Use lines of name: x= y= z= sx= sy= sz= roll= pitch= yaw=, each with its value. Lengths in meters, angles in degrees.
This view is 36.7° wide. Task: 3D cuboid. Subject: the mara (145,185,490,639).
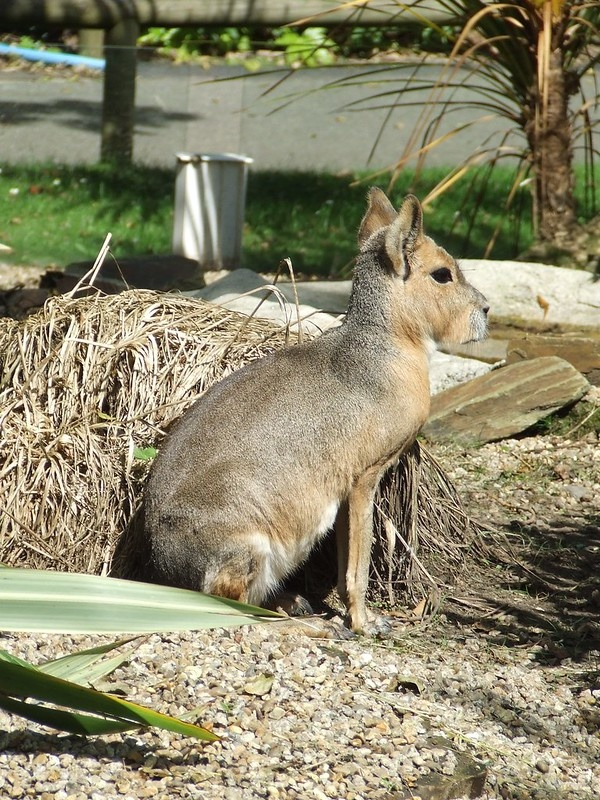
mara: x=0.053 y=0.060 z=3.359 sx=1.173 sy=1.597 sz=0.480 roll=-4 pitch=11 yaw=-31
